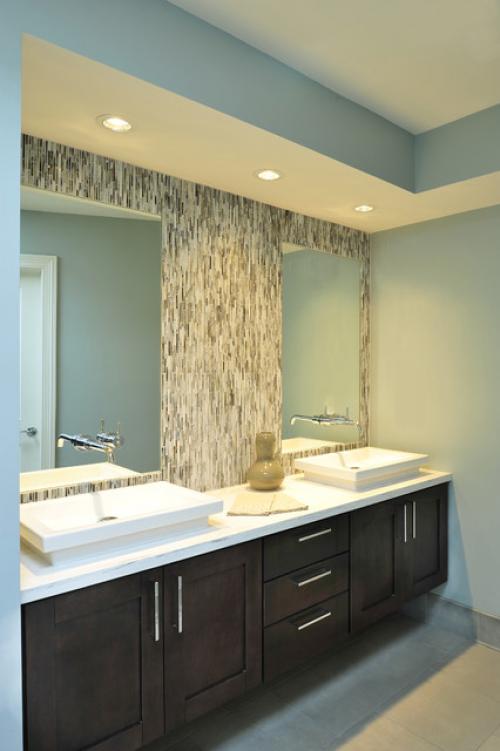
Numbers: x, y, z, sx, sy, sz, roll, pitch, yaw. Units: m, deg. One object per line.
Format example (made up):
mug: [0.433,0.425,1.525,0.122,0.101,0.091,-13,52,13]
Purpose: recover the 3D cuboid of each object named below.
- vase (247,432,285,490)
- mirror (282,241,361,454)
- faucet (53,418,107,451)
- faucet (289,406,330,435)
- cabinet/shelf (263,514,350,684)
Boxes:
vase: [0.071,0.373,2.415,0.157,0.246,0.172,1,0,3]
mirror: [0.401,-0.146,2.964,0.047,1.032,0.722,0,-1,41]
faucet: [-0.586,0.208,1.938,0.185,0.090,0.065,15,6,-7]
faucet: [0.286,0.245,2.841,0.241,0.088,0.079,0,-3,29]
cabinet/shelf: [0.293,0.906,2.135,0.415,0.529,0.337,-23,-48,24]
